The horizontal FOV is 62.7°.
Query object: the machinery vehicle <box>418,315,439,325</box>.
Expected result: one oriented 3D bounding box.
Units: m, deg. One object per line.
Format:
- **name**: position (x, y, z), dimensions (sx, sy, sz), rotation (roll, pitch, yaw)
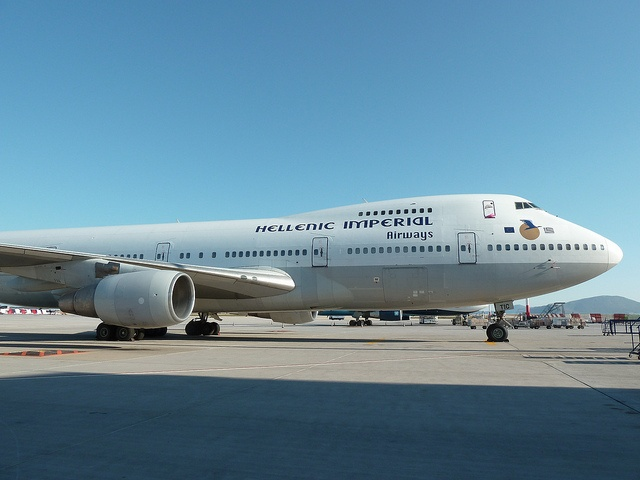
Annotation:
- **machinery vehicle**: position (10.480, 7.904, 51.928), dimensions (2.005, 0.680, 2.258), rotation (0, -5, 6)
